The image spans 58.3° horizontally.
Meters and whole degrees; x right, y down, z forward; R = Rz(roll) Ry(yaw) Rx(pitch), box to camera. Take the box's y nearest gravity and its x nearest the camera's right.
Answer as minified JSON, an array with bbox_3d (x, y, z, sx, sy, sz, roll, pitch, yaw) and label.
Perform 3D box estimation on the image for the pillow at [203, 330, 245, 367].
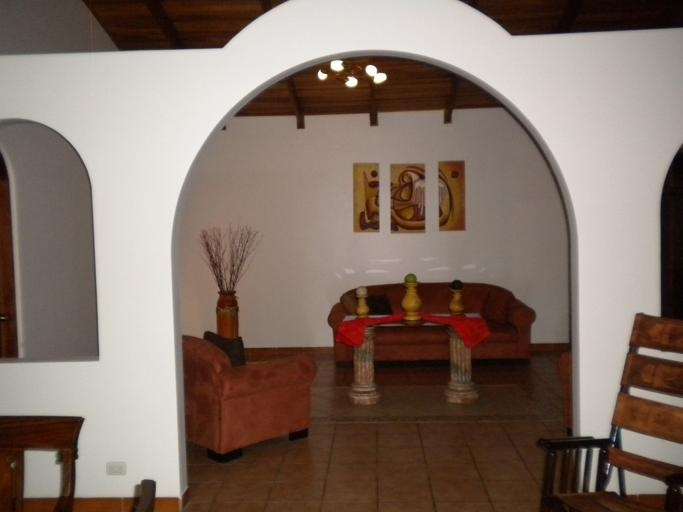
[{"bbox_3d":[-0.956,0.782,5.153,0.285,0.305,0.115,4,-19,-35],"label":"pillow"}]

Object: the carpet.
[{"bbox_3d":[0.958,1.494,6.224,2.534,0.089,1.188,0,6,7],"label":"carpet"}]

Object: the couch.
[{"bbox_3d":[1.177,0.953,8.187,2.650,1.118,1.028,-2,0,5],"label":"couch"}]

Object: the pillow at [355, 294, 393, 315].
[{"bbox_3d":[0.511,0.670,8.127,0.291,0.321,0.094,7,-43,-8],"label":"pillow"}]

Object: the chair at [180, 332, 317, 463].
[{"bbox_3d":[-0.890,1.153,5.439,1.199,0.898,1.127,-5,-3,43],"label":"chair"}]
